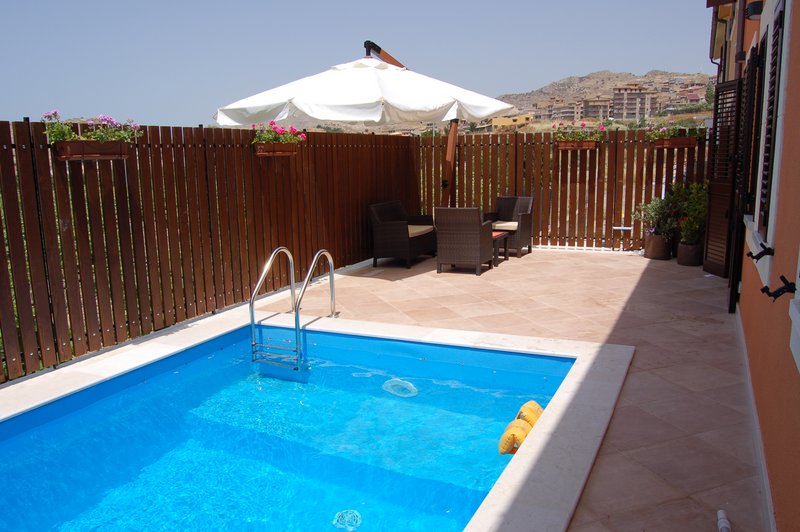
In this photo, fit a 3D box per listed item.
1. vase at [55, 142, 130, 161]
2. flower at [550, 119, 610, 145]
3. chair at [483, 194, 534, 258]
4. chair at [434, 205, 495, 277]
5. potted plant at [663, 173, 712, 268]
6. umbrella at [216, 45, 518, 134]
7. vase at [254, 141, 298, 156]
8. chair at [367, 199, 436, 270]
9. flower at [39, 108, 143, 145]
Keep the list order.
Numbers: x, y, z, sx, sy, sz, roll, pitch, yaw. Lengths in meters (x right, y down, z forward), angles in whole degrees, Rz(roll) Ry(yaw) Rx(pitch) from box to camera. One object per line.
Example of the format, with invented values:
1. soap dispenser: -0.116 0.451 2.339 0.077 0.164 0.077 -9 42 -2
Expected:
1. vase: -3.464 -1.324 6.200 0.722 0.196 0.140 -13 17 -42
2. flower: 4.149 -3.107 12.702 1.138 0.506 2.004 3 13 18
3. chair: 2.309 -0.884 11.709 1.079 1.195 1.111 -1 10 -8
4. chair: 1.142 -0.557 10.283 1.039 1.592 1.220 2 12 19
5. potted plant: 5.663 -0.778 10.400 0.993 1.628 0.794 8 1 -39
6. umbrella: -0.647 -3.126 9.872 4.889 1.208 1.874 -7 14 -23
7. vase: -1.980 -1.850 8.636 0.725 0.218 0.222 -10 15 -34
8. chair: 0.044 -0.702 11.079 0.951 1.134 1.351 4 13 24
9. flower: -3.513 -1.549 6.429 0.349 0.424 1.160 4 7 36
